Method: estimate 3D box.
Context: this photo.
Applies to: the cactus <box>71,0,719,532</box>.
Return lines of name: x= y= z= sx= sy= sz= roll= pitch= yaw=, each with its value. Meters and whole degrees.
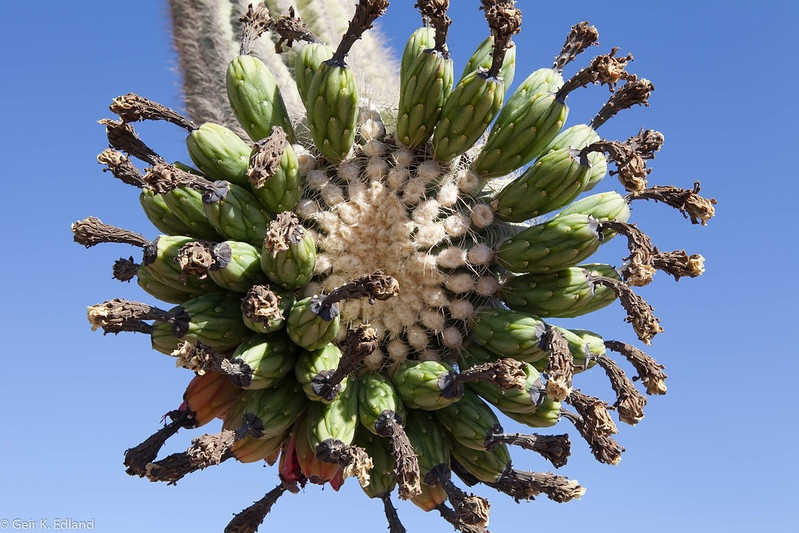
cactus: x=0.112 y=-0.651 z=10.538 sx=4.156 sy=5.323 sz=3.152 roll=13 pitch=-53 yaw=0
